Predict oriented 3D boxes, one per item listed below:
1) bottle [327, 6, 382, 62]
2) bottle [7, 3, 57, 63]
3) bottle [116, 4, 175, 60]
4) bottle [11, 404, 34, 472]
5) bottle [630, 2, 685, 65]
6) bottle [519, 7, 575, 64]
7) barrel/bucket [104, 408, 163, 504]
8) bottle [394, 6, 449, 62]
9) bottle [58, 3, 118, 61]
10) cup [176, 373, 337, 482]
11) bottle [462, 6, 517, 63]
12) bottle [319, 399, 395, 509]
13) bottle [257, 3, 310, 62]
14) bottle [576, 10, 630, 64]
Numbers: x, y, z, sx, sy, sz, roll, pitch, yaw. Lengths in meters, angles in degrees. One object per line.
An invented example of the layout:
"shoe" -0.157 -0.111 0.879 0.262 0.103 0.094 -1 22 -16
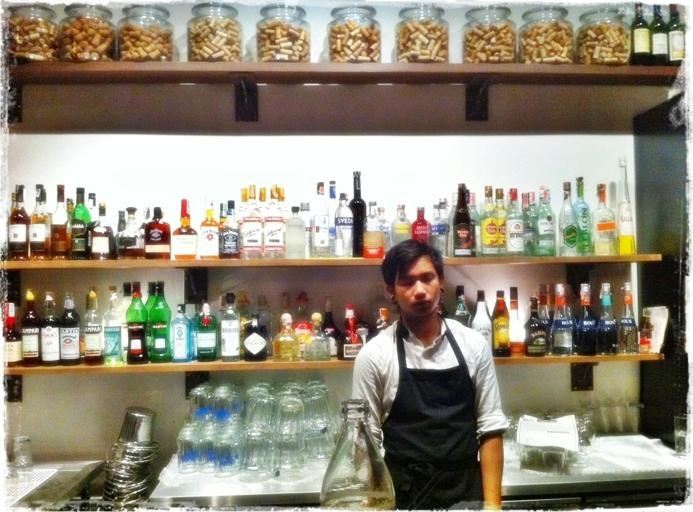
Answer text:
"bottle" 0.044 -1.214 3.897 0.299 0.316 0.301 0 7 -1
"bottle" -1.682 -1.199 3.784 0.288 0.324 0.285 -5 12 -23
"bottle" -1.110 -1.186 3.878 0.308 0.326 0.299 1 0 -27
"bottle" -1.822 1.006 3.858 0.110 0.347 0.273 -2 -2 -27
"bottle" 1.742 -1.222 3.842 0.341 0.462 0.134 1 -4 -4
"bottle" 1.091 -1.191 3.883 0.317 0.343 0.324 1 -1 8
"barrel/bucket" -1.174 1.080 3.738 0.283 0.455 0.146 -2 -2 -19
"bottle" 0.411 -1.184 3.914 0.308 0.325 0.305 0 0 -25
"bottle" -1.437 -1.183 3.837 0.301 0.294 0.303 0 2 -21
"cup" -0.497 0.936 3.743 0.578 0.254 0.579 0 4 0
"bottle" 0.829 -1.218 3.950 0.309 0.302 0.320 2 3 14
"bottle" 0.033 0.779 2.687 0.279 0.398 0.189 -3 -2 -3
"bottle" -0.339 -1.174 3.772 0.315 0.306 0.304 1 5 2
"bottle" 1.416 -1.200 3.957 0.303 0.302 0.290 1 -1 -15
